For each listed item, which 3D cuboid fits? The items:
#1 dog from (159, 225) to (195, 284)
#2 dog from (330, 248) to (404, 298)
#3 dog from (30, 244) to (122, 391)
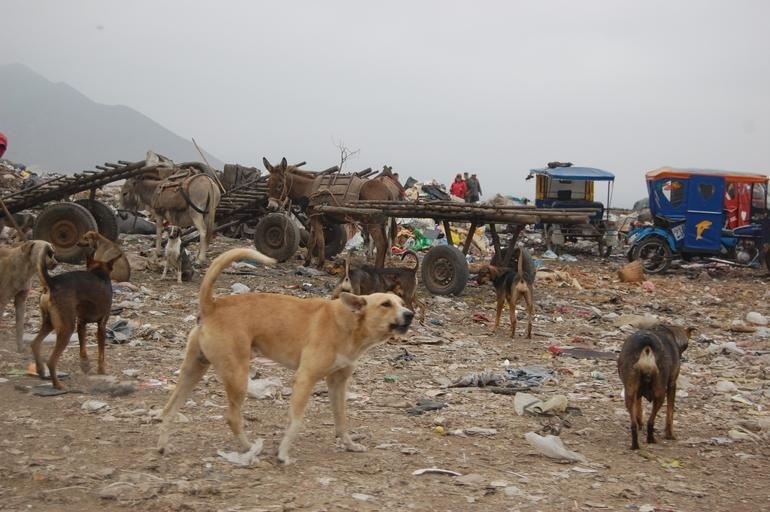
[{"bbox_3d":[-3.819,-0.049,15.136,0.656,0.996,1.012,3,-6,1],"label":"dog"},{"bbox_3d":[-0.325,0.292,14.708,0.986,0.909,2.023,2,-1,10],"label":"dog"},{"bbox_3d":[-3.944,0.763,10.416,0.529,1.576,1.066,9,13,24],"label":"dog"}]
